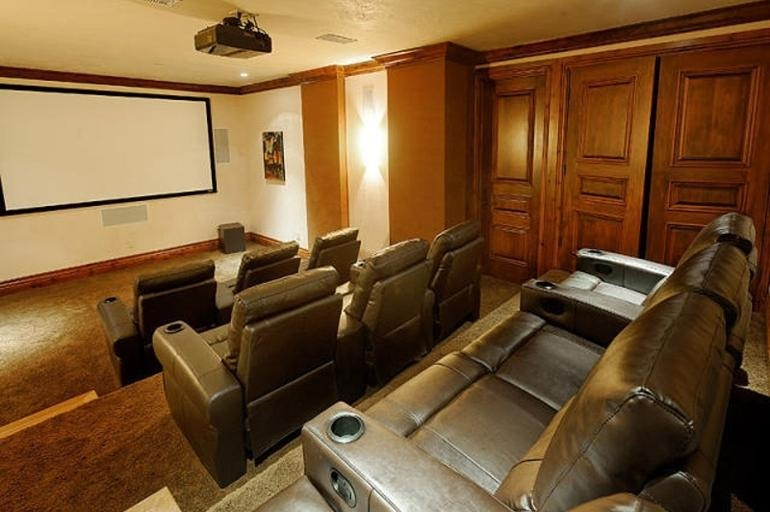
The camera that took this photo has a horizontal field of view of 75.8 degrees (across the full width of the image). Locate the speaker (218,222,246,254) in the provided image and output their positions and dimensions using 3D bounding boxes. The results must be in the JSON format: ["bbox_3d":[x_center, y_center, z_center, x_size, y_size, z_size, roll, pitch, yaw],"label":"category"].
[{"bbox_3d":[-2.696,-0.347,8.841,0.540,0.531,0.507,-8,23,-23],"label":"speaker"}]

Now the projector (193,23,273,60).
[{"bbox_3d":[-1.501,-2.150,4.930,0.497,0.302,0.582,13,24,42],"label":"projector"}]
